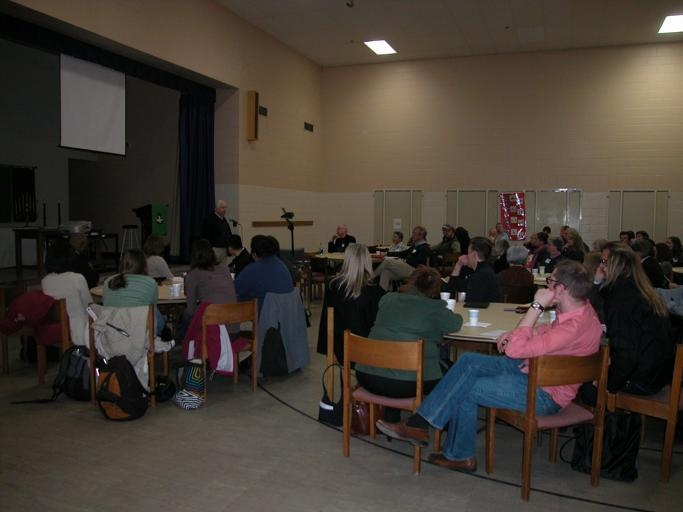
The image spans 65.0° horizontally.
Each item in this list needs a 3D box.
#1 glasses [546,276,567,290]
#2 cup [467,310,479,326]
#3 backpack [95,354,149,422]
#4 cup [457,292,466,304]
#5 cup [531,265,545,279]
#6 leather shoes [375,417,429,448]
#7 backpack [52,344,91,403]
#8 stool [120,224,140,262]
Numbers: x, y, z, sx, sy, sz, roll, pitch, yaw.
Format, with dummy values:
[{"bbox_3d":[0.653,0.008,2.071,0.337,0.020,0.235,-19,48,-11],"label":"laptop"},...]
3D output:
[{"bbox_3d":[1.502,0.189,3.729,0.092,0.032,0.097,30,11,7],"label":"glasses"},{"bbox_3d":[1.096,0.516,4.454,0.099,0.163,0.105,2,-9,0],"label":"cup"},{"bbox_3d":[-1.924,1.168,4.623,0.380,0.635,0.336,-16,-13,23],"label":"backpack"},{"bbox_3d":[1.208,0.416,5.313,0.076,0.151,0.086,-1,4,-5],"label":"cup"},{"bbox_3d":[2.667,0.222,7.255,0.195,0.234,0.134,1,2,32],"label":"cup"},{"bbox_3d":[0.439,1.233,3.929,0.391,0.175,0.157,17,-3,18],"label":"leather shoes"},{"bbox_3d":[-2.437,1.087,4.868,0.399,0.552,0.264,8,3,24],"label":"backpack"},{"bbox_3d":[-4.932,-0.384,12.587,0.462,0.587,0.481,0,-4,-23],"label":"stool"}]
